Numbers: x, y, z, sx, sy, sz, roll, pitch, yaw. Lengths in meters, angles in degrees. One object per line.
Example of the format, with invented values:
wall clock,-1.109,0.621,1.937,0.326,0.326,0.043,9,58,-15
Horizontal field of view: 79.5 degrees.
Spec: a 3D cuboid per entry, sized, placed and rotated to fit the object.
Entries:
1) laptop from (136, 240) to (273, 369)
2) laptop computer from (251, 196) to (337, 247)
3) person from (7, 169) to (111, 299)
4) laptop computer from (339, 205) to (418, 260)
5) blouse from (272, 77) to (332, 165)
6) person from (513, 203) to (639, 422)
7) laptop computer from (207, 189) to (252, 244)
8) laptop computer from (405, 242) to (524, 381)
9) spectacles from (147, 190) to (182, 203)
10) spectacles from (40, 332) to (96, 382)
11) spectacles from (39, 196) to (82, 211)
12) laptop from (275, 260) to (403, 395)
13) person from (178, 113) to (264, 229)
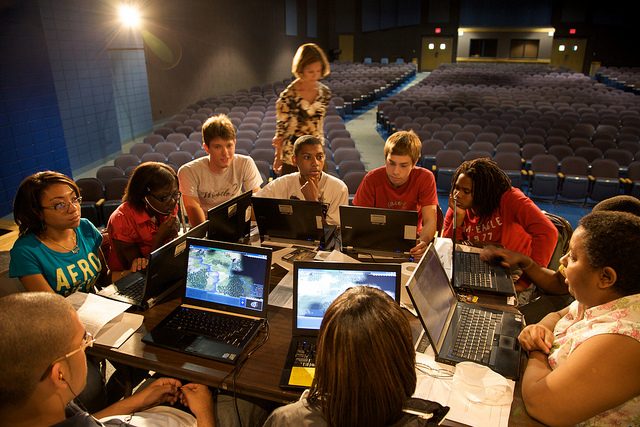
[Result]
laptop,-0.696,0.503,2.397,0.663,0.474,0.577,5,21,13
laptop computer,-0.244,0.055,3.237,0.541,0.417,0.460,6,30,13
person,-1.930,0.193,2.846,0.624,0.983,0.382,-13,22,-34
laptop computer,0.503,0.147,3.276,0.576,0.430,0.435,3,32,12
blouse,-0.188,-1.016,4.238,0.612,0.910,0.403,-4,19,-12
person,1.342,0.518,1.959,0.509,1.019,0.559,3,18,11
laptop computer,-0.744,0.065,3.219,0.095,0.436,0.527,11,21,31
laptop computer,0.884,0.544,2.297,0.599,0.441,0.584,10,27,30
spectacles,-1.241,-0.132,3.117,0.117,0.037,0.115,11,19,16
spectacles,-1.173,0.659,1.846,0.088,0.089,0.326,2,18,5
spectacles,-1.832,-0.071,2.771,0.106,0.076,0.272,13,22,35
laptop,0.134,0.594,2.129,0.671,0.507,0.588,1,12,5
person,-0.960,-0.321,3.864,0.939,1.147,0.908,8,27,2
